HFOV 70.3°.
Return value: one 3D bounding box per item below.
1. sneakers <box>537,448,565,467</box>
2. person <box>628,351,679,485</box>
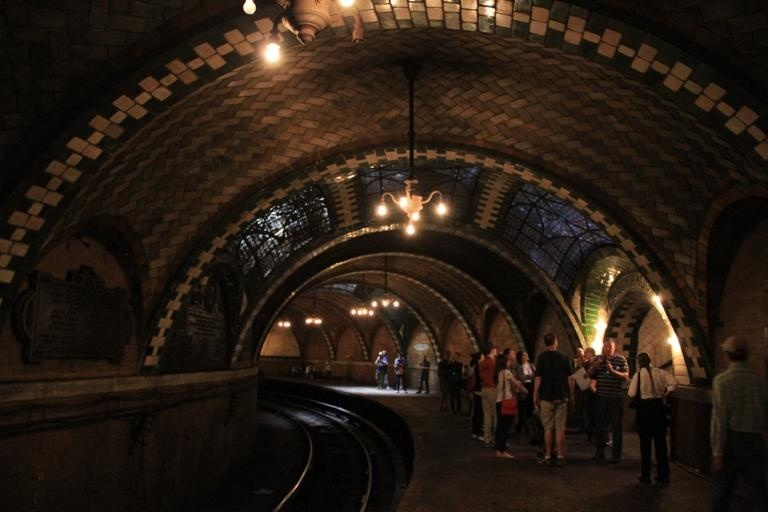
[{"bbox_3d":[2.633,3.200,8.658,0.208,0.268,0.609,7,-24,-19],"label":"sneakers"},{"bbox_3d":[3.853,2.298,7.805,0.633,1.783,0.303,1,-7,-5],"label":"person"}]
